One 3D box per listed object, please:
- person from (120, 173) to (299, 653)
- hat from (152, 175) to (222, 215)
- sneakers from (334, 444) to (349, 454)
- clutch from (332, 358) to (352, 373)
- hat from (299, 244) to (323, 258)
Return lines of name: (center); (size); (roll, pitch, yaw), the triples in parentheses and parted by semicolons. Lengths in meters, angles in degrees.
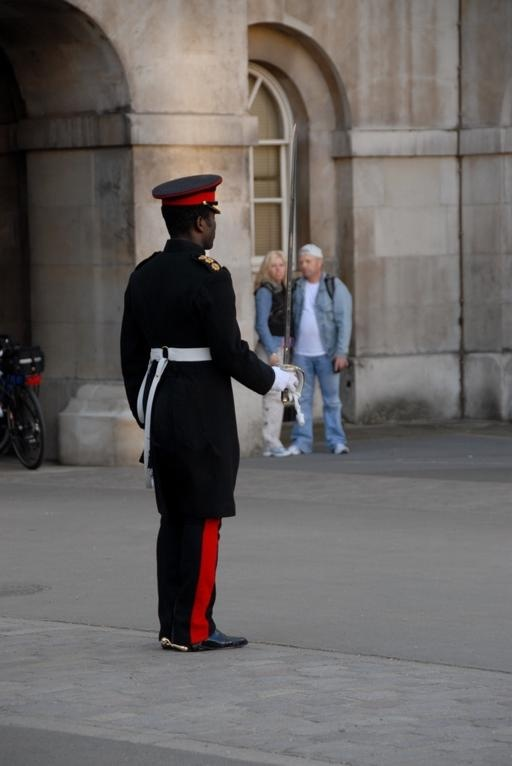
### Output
person: (-0.223, 0.100, 6.272); (0.578, 1.619, 0.376); (0, 5, 9)
hat: (-0.237, -0.659, 6.253); (0.148, 0.095, 0.155); (-7, 12, -22)
sneakers: (0.545, 0.412, 11.415); (0.095, 0.059, 0.067); (-2, 6, -9)
clutch: (0.548, -0.131, 11.505); (0.095, 0.112, 0.076); (11, -23, 46)
hat: (0.354, -0.830, 11.450); (0.140, 0.074, 0.149); (-5, 8, -33)
